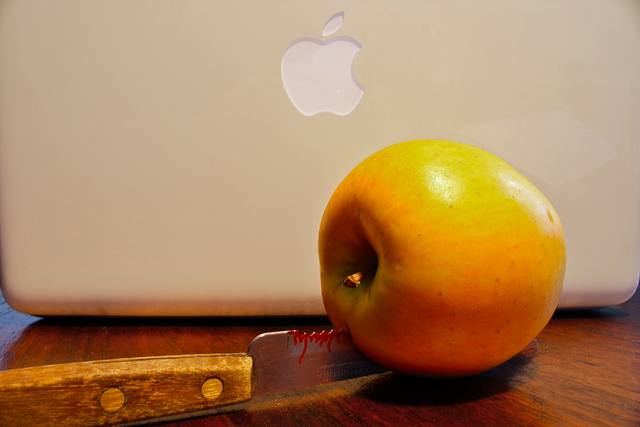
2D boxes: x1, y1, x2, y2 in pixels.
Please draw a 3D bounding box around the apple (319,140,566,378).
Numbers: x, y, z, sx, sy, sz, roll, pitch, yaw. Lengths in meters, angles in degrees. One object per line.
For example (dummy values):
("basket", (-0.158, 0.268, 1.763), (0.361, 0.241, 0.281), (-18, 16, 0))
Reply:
("apple", (0.202, 0.086, 1.180), (0.399, 0.436, 0.398), (0, 6, -4))
